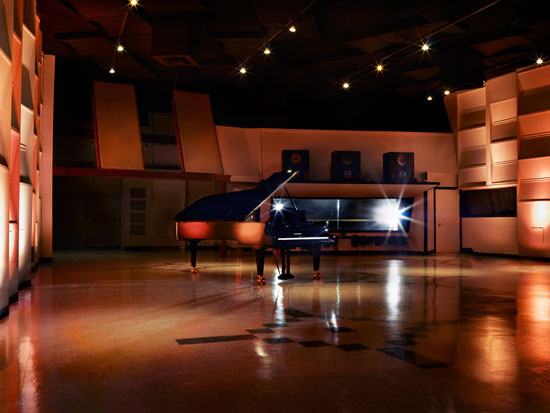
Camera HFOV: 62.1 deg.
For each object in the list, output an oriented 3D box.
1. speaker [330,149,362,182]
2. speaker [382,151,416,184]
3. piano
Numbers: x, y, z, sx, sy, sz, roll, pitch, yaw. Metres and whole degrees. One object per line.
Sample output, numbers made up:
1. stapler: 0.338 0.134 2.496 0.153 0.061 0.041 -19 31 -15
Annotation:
1. speaker: 1.959 -1.101 12.585 0.801 0.601 0.233 -1 0 4
2. speaker: 3.518 -1.069 13.148 0.874 0.914 0.892 0 -3 -1
3. piano: -0.604 0.376 7.966 2.867 1.809 1.612 -2 -3 32
